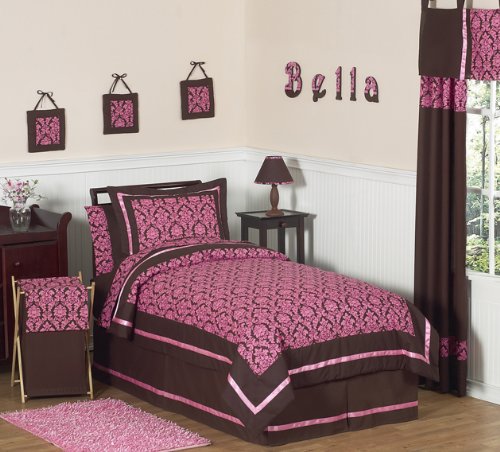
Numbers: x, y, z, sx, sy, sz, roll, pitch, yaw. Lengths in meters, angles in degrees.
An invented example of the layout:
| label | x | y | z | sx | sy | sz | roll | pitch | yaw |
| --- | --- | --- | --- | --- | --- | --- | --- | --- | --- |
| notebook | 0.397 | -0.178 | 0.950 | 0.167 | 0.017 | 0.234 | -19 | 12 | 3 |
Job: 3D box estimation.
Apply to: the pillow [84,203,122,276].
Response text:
| label | x | y | z | sx | sy | sz | roll | pitch | yaw |
| --- | --- | --- | --- | --- | --- | --- | --- | --- | --- |
| pillow | -1.044 | 0.098 | 3.490 | 0.345 | 0.477 | 0.106 | -8 | -3 | -9 |

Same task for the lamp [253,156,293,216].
| label | x | y | z | sx | sy | sz | roll | pitch | yaw |
| --- | --- | --- | --- | --- | --- | --- | --- | --- | --- |
| lamp | 0.209 | -0.349 | 4.268 | 0.377 | 0.498 | 0.355 | 3 | 9 | 30 |

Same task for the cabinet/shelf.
| label | x | y | z | sx | sy | sz | roll | pitch | yaw |
| --- | --- | --- | --- | --- | --- | --- | --- | --- | --- |
| cabinet/shelf | -1.210 | 0.663 | 2.955 | 0.505 | 0.761 | 0.541 | 1 | -2 | -17 |

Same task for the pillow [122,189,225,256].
| label | x | y | z | sx | sy | sz | roll | pitch | yaw |
| --- | --- | --- | --- | --- | --- | --- | --- | --- | --- |
| pillow | -0.571 | -0.012 | 3.428 | 0.584 | 0.369 | 0.061 | -3 | -29 | -24 |

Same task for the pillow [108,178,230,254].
| label | x | y | z | sx | sy | sz | roll | pitch | yaw |
| --- | --- | --- | --- | --- | --- | --- | --- | --- | --- |
| pillow | -0.550 | -0.047 | 3.615 | 0.870 | 0.539 | 0.136 | -8 | 13 | -37 |

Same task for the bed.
| label | x | y | z | sx | sy | sz | roll | pitch | yaw |
| --- | --- | --- | --- | --- | --- | --- | --- | --- | --- |
| bed | -0.143 | 0.357 | 2.931 | 1.265 | 0.920 | 1.907 | -7 | 11 | -34 |
